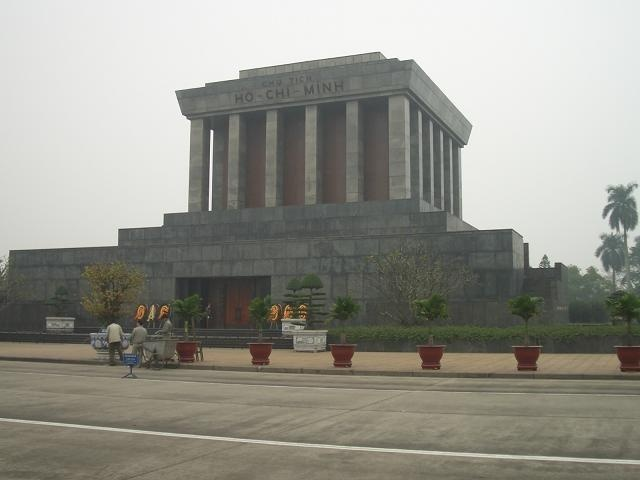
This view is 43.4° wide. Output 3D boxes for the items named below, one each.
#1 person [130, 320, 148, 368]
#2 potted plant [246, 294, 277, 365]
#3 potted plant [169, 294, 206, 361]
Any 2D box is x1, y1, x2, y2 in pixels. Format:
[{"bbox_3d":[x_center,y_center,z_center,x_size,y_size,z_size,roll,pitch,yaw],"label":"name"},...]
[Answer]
[{"bbox_3d":[-6.721,3.880,29.939,0.555,1.632,1.918,0,-8,-13],"label":"person"},{"bbox_3d":[-2.639,4.010,35.675,1.002,2.766,1.027,-2,-2,-8],"label":"potted plant"},{"bbox_3d":[-5.487,3.724,33.565,1.464,2.678,1.190,1,-9,0],"label":"potted plant"}]
